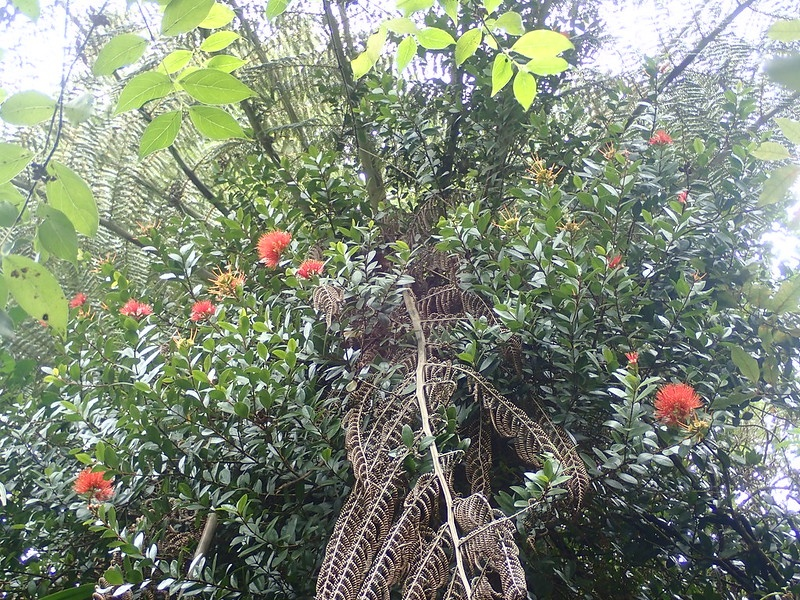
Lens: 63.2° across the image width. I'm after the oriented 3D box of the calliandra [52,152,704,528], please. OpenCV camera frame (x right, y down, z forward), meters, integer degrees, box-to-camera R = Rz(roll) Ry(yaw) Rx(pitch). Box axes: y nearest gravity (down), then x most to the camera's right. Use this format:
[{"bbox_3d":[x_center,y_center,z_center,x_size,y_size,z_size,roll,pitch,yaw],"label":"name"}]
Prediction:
[{"bbox_3d":[-0.039,-0.019,1.839,1.320,1.249,0.877,-4,-52,3],"label":"calliandra"}]
